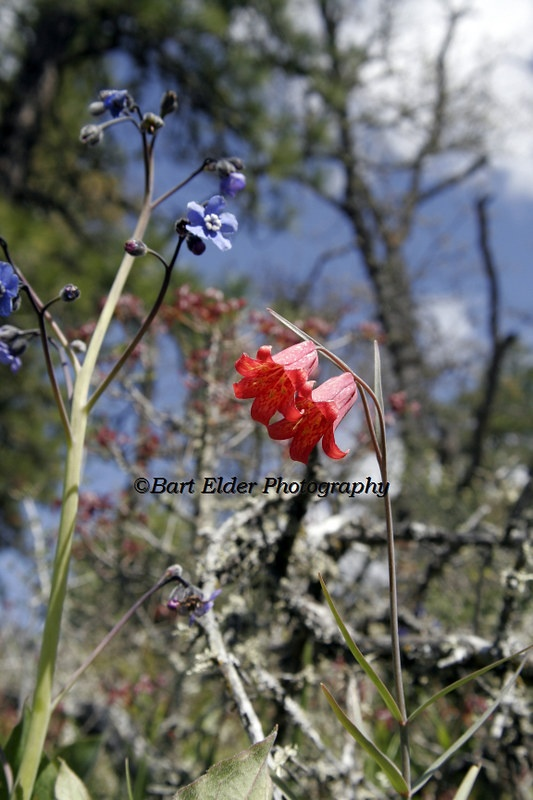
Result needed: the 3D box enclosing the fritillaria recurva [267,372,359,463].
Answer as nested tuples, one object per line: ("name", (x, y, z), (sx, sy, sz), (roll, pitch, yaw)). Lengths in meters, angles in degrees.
("fritillaria recurva", (0.218, 0.056, 4.217), (0.211, 0.295, 0.239), (38, -22, -16))
